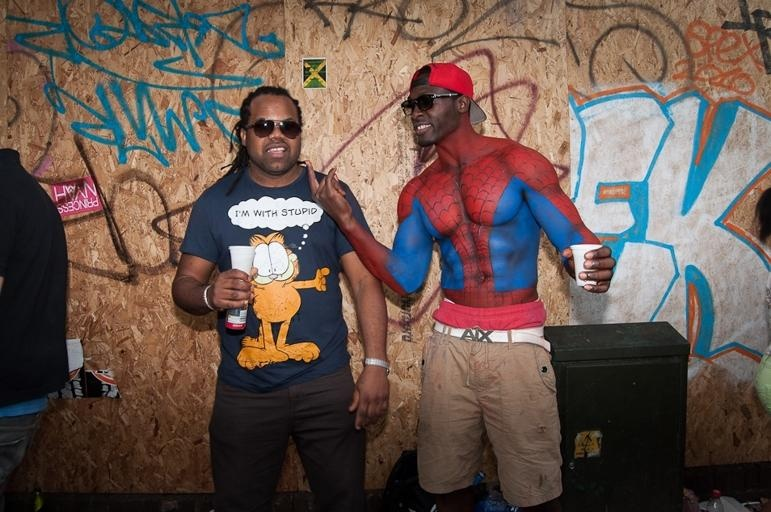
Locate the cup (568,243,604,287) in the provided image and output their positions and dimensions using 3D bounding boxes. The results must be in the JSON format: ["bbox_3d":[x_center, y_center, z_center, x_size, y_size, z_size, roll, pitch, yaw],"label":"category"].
[{"bbox_3d":[1.203,0.064,3.687,0.240,0.257,0.240,0,1,0],"label":"cup"}]

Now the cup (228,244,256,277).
[{"bbox_3d":[-0.889,0.020,3.708,0.181,0.183,0.175,-1,2,0],"label":"cup"}]

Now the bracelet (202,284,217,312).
[{"bbox_3d":[-1.139,0.272,3.836,0.068,0.170,0.126,0,4,-17],"label":"bracelet"}]
